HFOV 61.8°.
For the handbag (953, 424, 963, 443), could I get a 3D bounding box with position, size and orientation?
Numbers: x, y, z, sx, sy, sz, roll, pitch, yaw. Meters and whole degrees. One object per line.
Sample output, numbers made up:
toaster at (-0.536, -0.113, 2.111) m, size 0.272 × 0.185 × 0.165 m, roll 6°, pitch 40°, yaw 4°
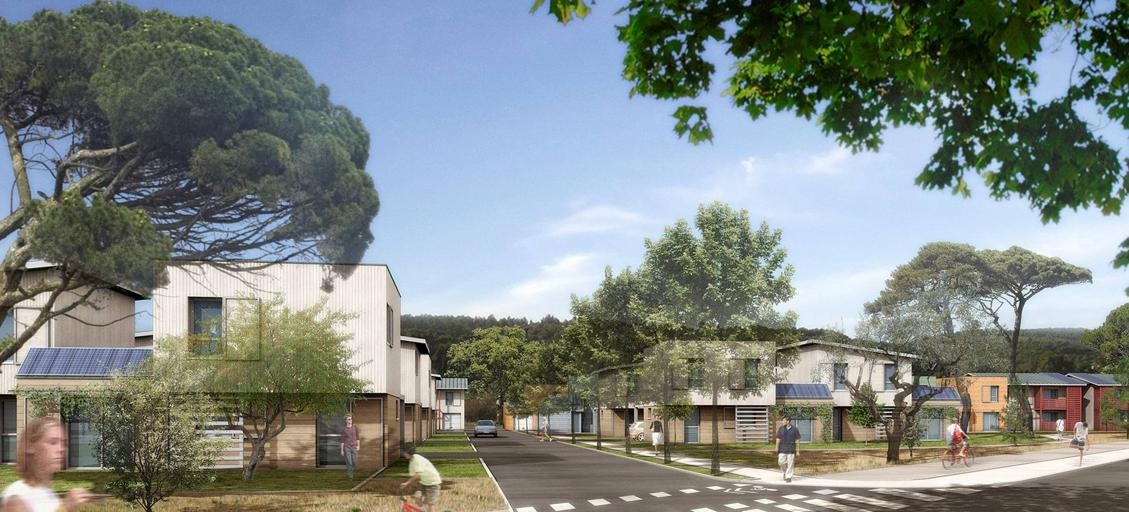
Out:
handbag at (24.618, 11.036, 58.964) m, size 0.498 × 0.967 × 2.063 m, roll -7°, pitch -17°, yaw 22°
